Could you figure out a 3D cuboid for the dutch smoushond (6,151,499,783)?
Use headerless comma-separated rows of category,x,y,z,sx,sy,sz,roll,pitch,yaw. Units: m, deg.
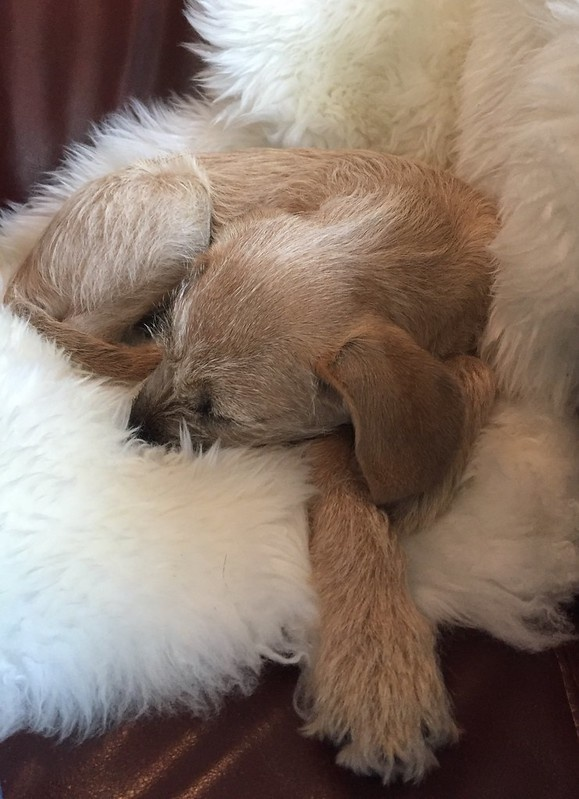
dutch smoushond,-0.013,0.057,1.215,0.656,0.283,0.816,1,68,4
